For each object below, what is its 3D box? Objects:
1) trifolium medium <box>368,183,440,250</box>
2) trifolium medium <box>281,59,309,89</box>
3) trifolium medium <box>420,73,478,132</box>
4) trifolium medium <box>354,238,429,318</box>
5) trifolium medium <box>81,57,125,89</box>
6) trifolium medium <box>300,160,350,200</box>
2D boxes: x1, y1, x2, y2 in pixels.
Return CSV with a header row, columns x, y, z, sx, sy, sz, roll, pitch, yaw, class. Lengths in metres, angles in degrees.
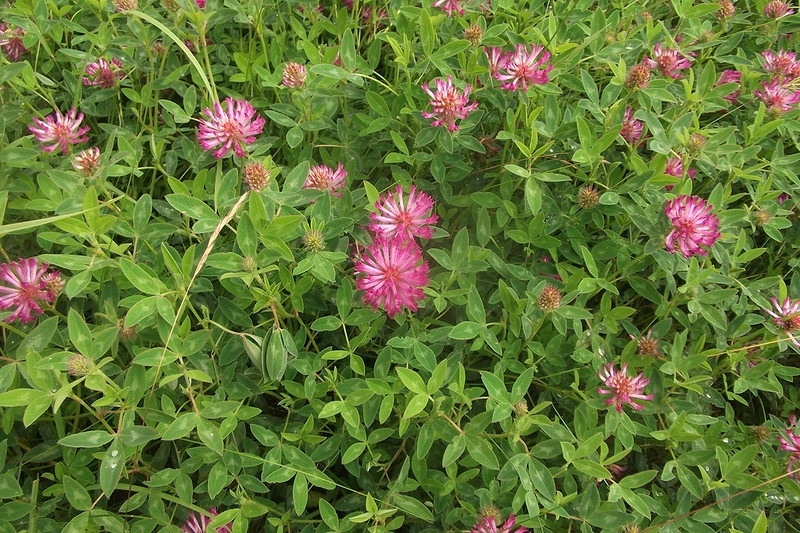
x,y,z,sx,sy,sz,roll,pitch,yaw,class
0.020,-0.196,2.596,0.230,0.101,0.249,3,73,-1,trifolium medium
-0.454,-0.833,2.867,0.104,0.118,0.116,-8,64,-2,trifolium medium
0.196,-0.676,2.744,0.216,0.140,0.219,34,65,4,trifolium medium
-0.030,0.038,2.511,0.280,0.127,0.305,4,87,-2,trifolium medium
-1.373,-0.911,3.100,0.158,0.156,0.085,24,26,-11,trifolium medium
-0.306,-0.364,2.736,0.149,0.098,0.151,0,32,-4,trifolium medium
